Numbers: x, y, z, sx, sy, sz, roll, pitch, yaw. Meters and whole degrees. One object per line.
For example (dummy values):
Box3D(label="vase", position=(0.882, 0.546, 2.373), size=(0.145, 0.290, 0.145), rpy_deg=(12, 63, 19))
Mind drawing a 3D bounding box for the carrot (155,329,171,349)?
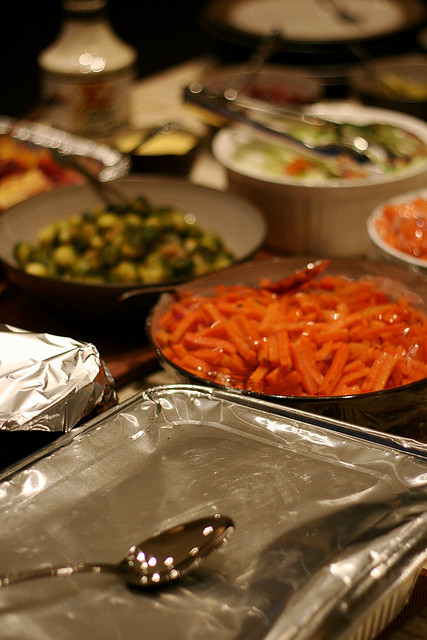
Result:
Box3D(label="carrot", position=(-0.061, 0.023, 0.719), size=(0.018, 0.006, 0.018), rpy_deg=(39, 61, 20))

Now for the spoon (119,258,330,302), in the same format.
Box3D(label="spoon", position=(0.020, -0.045, 0.817), size=(0.301, 0.037, 0.069), rpy_deg=(-8, 25, -6))

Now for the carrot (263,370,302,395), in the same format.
Box3D(label="carrot", position=(0.077, 0.069, 0.630), size=(0.032, 0.028, 0.008), rpy_deg=(12, 16, 0))

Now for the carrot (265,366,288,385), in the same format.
Box3D(label="carrot", position=(0.069, 0.060, 0.638), size=(0.027, 0.007, 0.009), rpy_deg=(-27, 50, -34))

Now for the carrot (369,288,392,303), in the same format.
Box3D(label="carrot", position=(0.216, -0.031, 0.763), size=(0.020, 0.004, 0.019), rpy_deg=(23, 2, -44))

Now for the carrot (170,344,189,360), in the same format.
Box3D(label="carrot", position=(-0.040, 0.036, 0.696), size=(0.015, 0.007, 0.021), rpy_deg=(-38, 41, 8))

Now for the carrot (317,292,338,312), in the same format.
Box3D(label="carrot", position=(0.146, -0.022, 0.758), size=(0.029, 0.007, 0.019), rpy_deg=(3, 64, -4))

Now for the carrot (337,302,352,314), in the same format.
Box3D(label="carrot", position=(0.163, -0.014, 0.740), size=(0.008, 0.011, 0.014), rpy_deg=(-11, -9, -25))

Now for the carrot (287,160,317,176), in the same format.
Box3D(label="carrot", position=(0.178, -0.309, 1.202), size=(0.050, 0.009, 0.042), rpy_deg=(-5, 36, 6))

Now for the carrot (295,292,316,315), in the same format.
Box3D(label="carrot", position=(0.121, -0.022, 0.768), size=(0.022, 0.014, 0.061), rpy_deg=(-7, 23, -3))

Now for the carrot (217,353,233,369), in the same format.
Box3D(label="carrot", position=(0.015, 0.049, 0.675), size=(0.015, 0.012, 0.018), rpy_deg=(-15, 26, -16))

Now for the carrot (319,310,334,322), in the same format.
Box3D(label="carrot", position=(0.138, -0.005, 0.723), size=(0.015, 0.008, 0.014), rpy_deg=(6, 32, 12))

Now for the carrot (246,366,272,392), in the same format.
Box3D(label="carrot", position=(0.050, 0.065, 0.643), size=(0.029, 0.008, 0.023), rpy_deg=(-4, 59, -24))

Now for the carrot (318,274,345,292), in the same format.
Box3D(label="carrot", position=(0.161, -0.049, 0.807), size=(0.028, 0.011, 0.030), rpy_deg=(-8, 22, 2))

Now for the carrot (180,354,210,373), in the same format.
Box3D(label="carrot", position=(-0.021, 0.051, 0.678), size=(0.031, 0.008, 0.016), rpy_deg=(35, 55, 20))

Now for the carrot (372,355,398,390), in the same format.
Box3D(label="carrot", position=(0.184, 0.056, 0.632), size=(0.014, 0.012, 0.052), rpy_deg=(22, 58, 29))

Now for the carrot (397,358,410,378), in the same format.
Box3D(label="carrot", position=(0.205, 0.053, 0.638), size=(0.007, 0.006, 0.023), rpy_deg=(-26, 36, 8))

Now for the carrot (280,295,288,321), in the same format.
Box3D(label="carrot", position=(0.090, -0.014, 0.754), size=(0.007, 0.006, 0.038), rpy_deg=(11, 30, 7))
